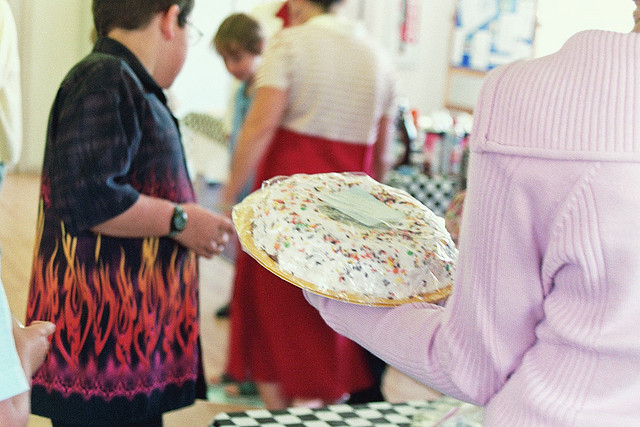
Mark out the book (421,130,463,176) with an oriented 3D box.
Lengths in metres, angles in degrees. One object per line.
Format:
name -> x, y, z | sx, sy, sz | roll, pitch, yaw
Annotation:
book -> 0.565, -0.329, 3.018 | 0.171, 0.212, 0.224 | 0, 42, 5

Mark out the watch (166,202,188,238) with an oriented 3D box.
watch -> -0.316, 0.016, 1.521 | 0.024, 0.066, 0.060 | 21, -4, -1
